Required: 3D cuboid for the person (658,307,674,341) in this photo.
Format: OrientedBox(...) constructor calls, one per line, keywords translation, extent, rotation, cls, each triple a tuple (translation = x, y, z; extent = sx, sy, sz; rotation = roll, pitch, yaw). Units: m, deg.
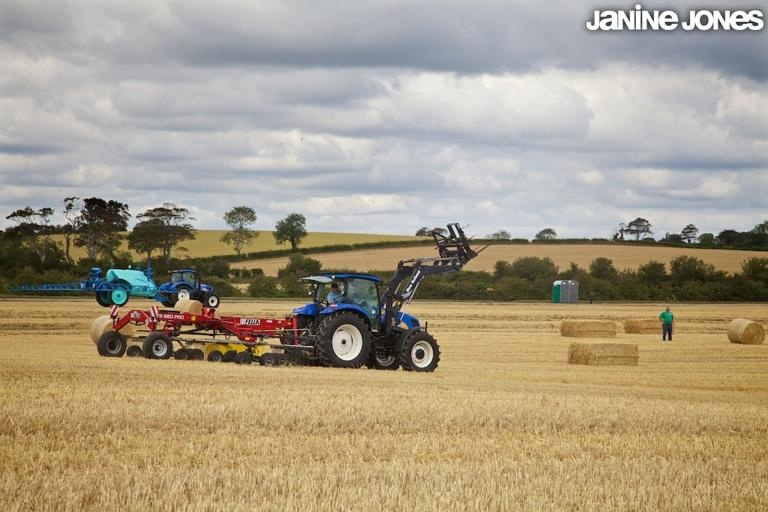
OrientedBox(translation=(10.637, 2.476, 38.960), extent=(0.481, 1.509, 1.523), rotation=(4, 13, 17), cls="person")
